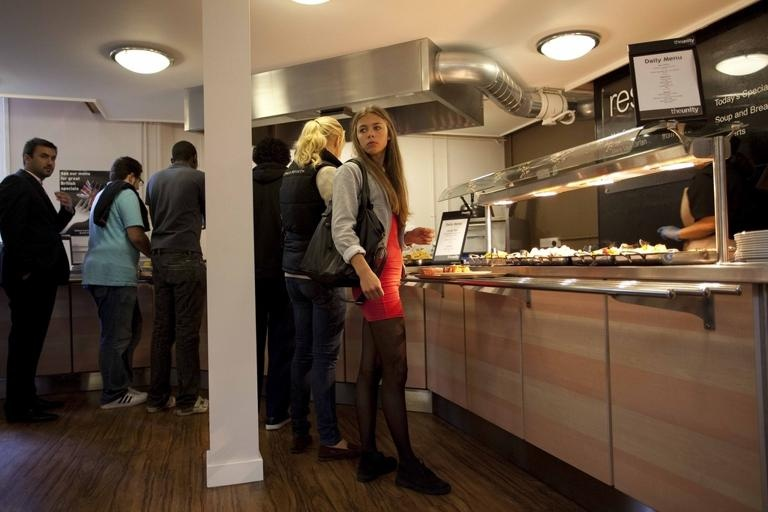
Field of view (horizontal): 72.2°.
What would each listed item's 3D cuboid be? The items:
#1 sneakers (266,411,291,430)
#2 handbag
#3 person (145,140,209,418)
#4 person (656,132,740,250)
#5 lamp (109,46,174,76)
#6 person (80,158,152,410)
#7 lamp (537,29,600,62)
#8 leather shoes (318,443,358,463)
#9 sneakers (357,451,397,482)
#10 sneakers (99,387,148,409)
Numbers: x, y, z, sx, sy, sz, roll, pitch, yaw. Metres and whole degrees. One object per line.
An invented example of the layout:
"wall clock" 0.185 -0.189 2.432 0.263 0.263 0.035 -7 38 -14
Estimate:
"sneakers" -0.767 1.201 3.853 0.076 0.078 0.204 1 2 20
"handbag" -0.224 -0.138 2.943 0.461 0.797 0.257 2 8 29
"person" -1.625 0.262 4.139 0.481 1.945 0.370 1 7 20
"person" 2.678 -0.532 4.365 0.457 0.900 1.227 4 9 38
"lamp" -2.469 -2.009 5.391 0.585 0.202 0.290 -5 8 -23
"person" -2.211 0.227 4.408 0.525 2.088 0.495 -6 8 -29
"lamp" 1.887 -2.163 5.408 0.620 0.214 0.292 1 8 17
"leather shoes" -0.282 1.241 3.364 0.282 0.101 0.094 0 -6 -17
"sneakers" -0.050 1.229 3.177 0.112 0.172 0.287 1 5 44
"sneakers" -2.164 1.194 4.411 0.352 0.145 0.126 -8 11 -31
